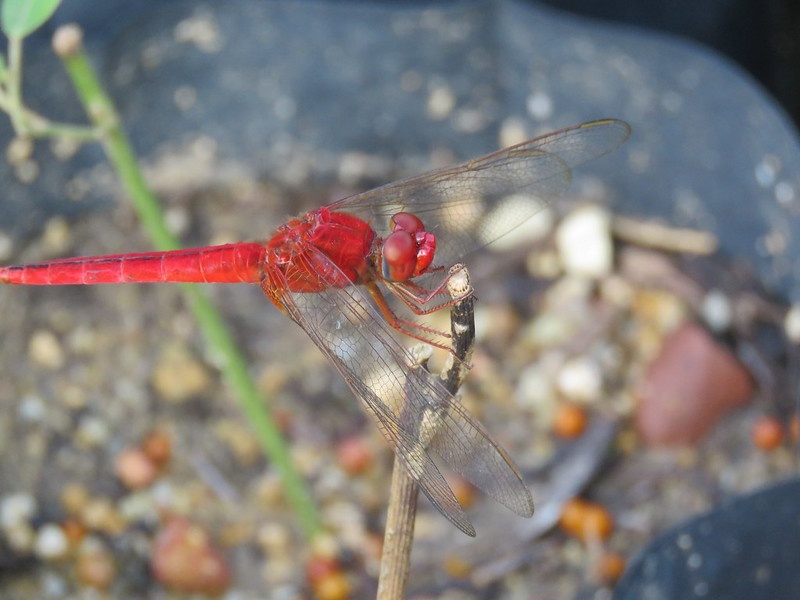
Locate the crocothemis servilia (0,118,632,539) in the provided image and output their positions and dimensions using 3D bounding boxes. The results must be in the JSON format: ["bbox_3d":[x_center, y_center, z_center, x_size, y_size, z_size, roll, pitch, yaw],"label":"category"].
[{"bbox_3d":[-0.037,0.068,1.066,0.661,0.219,0.384,-13,84,-1],"label":"crocothemis servilia"}]
